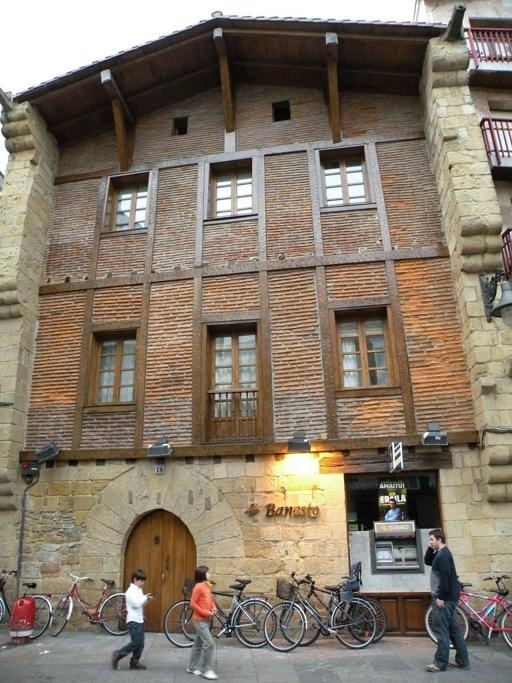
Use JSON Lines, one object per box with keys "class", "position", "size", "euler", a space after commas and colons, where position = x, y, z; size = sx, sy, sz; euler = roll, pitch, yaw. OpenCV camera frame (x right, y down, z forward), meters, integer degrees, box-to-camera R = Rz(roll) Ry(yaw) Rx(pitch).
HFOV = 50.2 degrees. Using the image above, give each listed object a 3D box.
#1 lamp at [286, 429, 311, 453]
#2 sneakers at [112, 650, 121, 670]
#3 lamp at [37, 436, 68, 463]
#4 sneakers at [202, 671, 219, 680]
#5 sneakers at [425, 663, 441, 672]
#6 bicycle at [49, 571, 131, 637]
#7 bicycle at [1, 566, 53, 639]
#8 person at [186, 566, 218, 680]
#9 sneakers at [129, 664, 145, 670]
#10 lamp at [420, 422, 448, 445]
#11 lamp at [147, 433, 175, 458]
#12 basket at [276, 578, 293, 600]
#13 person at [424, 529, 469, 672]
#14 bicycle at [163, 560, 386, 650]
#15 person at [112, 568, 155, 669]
{"class": "lamp", "position": [0.689, 1.620, 8.915], "size": [0.359, 0.305, 0.343], "euler": [2, -15, -7]}
{"class": "sneakers", "position": [-1.667, 3.792, 6.514], "size": [0.107, 0.209, 0.287], "euler": [3, -21, -15]}
{"class": "lamp", "position": [-3.732, 1.972, 9.899], "size": [0.349, 0.159, 0.441], "euler": [-28, 1, 0]}
{"class": "sneakers", "position": [-0.516, 3.727, 6.152], "size": [0.188, 0.077, 0.075], "euler": [-9, -10, 35]}
{"class": "sneakers", "position": [1.992, 3.718, 6.230], "size": [0.114, 0.063, 0.188], "euler": [10, -23, -31]}
{"class": "bicycle", "position": [-2.715, 4.333, 8.985], "size": [1.432, 0.826, 0.615], "euler": [10, -27, -19]}
{"class": "bicycle", "position": [-3.776, 4.278, 9.037], "size": [1.183, 0.978, 0.698], "euler": [-12, -23, 25]}
{"class": "person", "position": [-0.642, 3.286, 6.457], "size": [0.344, 1.176, 0.804], "euler": [0, -21, -6]}
{"class": "sneakers", "position": [-1.422, 3.888, 6.533], "size": [0.185, 0.074, 0.070], "euler": [0, -9, -2]}
{"class": "lamp", "position": [2.802, 1.448, 8.619], "size": [0.384, 0.337, 0.361], "euler": [0, -8, 3]}
{"class": "lamp", "position": [-1.619, 1.823, 9.437], "size": [0.420, 0.380, 0.390], "euler": [-3, -26, 6]}
{"class": "basket", "position": [0.412, 3.685, 8.146], "size": [0.321, 0.275, 0.254], "euler": [4, -16, 4]}
{"class": "person", "position": [2.198, 3.069, 6.579], "size": [0.475, 1.518, 0.482], "euler": [-9, -22, 15]}
{"class": "bicycle", "position": [0.331, 3.906, 8.049], "size": [2.942, 1.026, 1.022], "euler": [-4, -20, 6]}
{"class": "person", "position": [-1.481, 3.330, 6.530], "size": [0.437, 1.111, 0.547], "euler": [3, -22, -13]}
